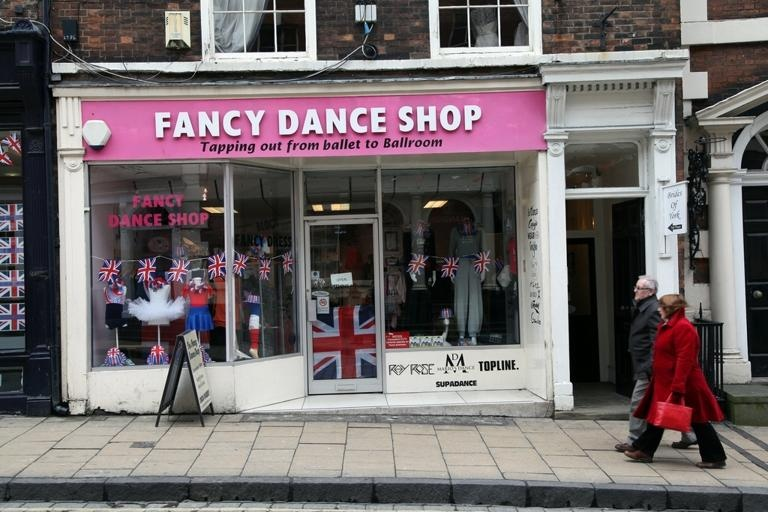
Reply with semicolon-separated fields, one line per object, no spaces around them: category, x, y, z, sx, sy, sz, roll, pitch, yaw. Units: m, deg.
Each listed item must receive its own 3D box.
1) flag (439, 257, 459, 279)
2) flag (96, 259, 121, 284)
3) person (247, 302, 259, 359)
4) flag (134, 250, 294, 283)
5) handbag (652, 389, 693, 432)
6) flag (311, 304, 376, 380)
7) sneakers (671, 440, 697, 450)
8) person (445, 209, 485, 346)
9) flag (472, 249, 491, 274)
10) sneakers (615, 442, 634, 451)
flag;1.125;0.175;16.299;0.367;0.457;0.058;1;4;-1
flag;-4.624;0.234;15.449;0.371;0.450;0.045;4;-5;-14
person;-2.201;1.241;15.717;0.264;0.894;0.185;-2;2;-26
flag;-2.801;0.170;15.625;2.602;0.469;0.433;-2;2;-13
handbag;4.150;2.195;13.254;0.577;0.715;0.181;7;6;13
flag;-0.752;1.552;16.199;1.279;1.477;0.058;0;-5;-4
sneakers;4.577;2.873;14.102;0.376;0.155;0.148;4;-2;6
person;1.458;0.375;16.265;0.515;2.279;0.180;-2;1;1
flag;1.704;0.058;16.338;0.414;0.512;0.028;0;1;-6
sneakers;3.594;2.880;13.913;0.207;0.091;0.099;6;-8;-19
